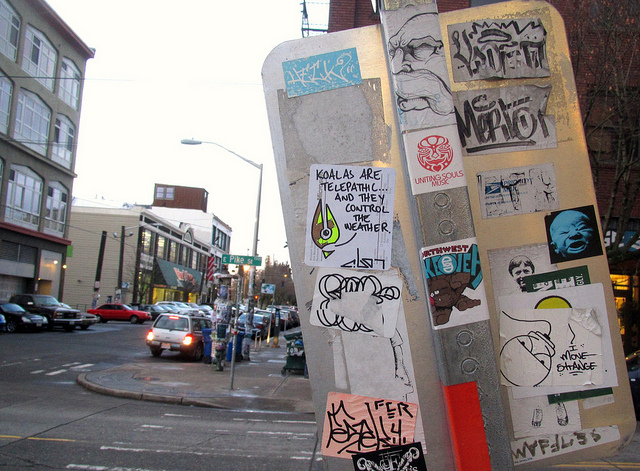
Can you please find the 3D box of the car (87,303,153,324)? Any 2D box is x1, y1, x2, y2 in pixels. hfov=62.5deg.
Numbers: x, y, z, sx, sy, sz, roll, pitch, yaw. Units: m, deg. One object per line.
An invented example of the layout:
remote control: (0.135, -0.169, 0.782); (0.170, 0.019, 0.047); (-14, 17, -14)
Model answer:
car: (-15.758, 6.144, 41.586); (4.576, 1.406, 1.835); (0, -5, -5)

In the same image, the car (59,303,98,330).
car: (-14.459, 5.117, 32.034); (2.922, 0.948, 1.238); (-6, -10, 37)

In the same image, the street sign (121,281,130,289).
street sign: (-19.572, 4.951, 52.977); (0.806, 0.827, 0.850); (7, -4, -10)

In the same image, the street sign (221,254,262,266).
street sign: (-2.373, 0.704, 15.943); (1.114, 0.344, 0.858); (5, -13, -14)

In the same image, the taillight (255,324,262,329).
taillight: (-3.921, 5.763, 33.627); (0.312, 0.346, 0.407); (-4, -6, 6)

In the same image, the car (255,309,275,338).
car: (-4.043, 6.722, 41.243); (1.470, 1.065, 3.172); (0, 0, 10)

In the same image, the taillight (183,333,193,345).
taillight: (-4.919, 3.846, 19.691); (0.335, 0.272, 0.525); (3, -35, -3)

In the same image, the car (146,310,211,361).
car: (-5.311, 3.892, 20.896); (1.500, 1.072, 2.532); (1, 0, 11)

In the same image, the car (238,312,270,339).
car: (-4.060, 5.677, 33.482); (1.720, 1.245, 3.734); (1, 1, 7)

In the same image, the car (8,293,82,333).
car: (-15.588, 4.259, 29.492); (4.006, 1.773, 1.971); (-1, -4, 24)
